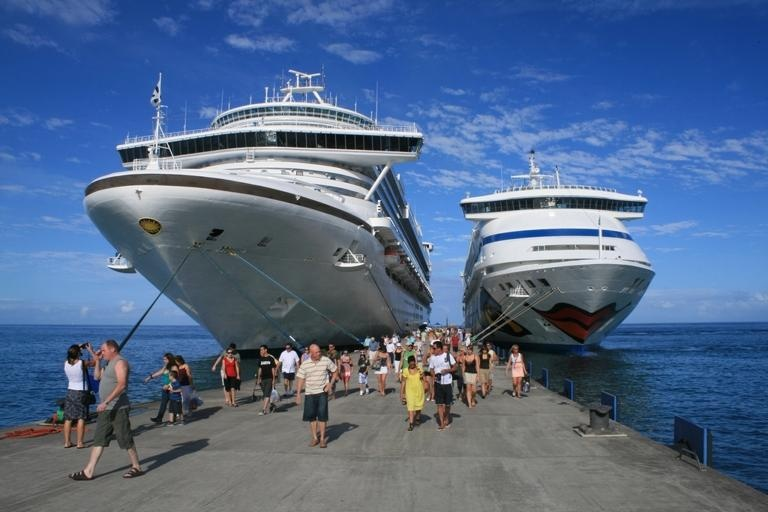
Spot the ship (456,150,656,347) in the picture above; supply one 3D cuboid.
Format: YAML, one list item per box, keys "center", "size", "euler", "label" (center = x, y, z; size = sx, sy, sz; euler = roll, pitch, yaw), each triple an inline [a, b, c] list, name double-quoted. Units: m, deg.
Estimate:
- center: [11.899, 0.777, 40.344]
  size: [8.902, 9.155, 21.425]
  euler: [-1, -5, 5]
  label: "ship"

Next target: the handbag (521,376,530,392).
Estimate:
- center: [4.793, 4.330, 18.610]
  size: [0.179, 0.420, 0.322]
  euler: [4, -5, -11]
  label: "handbag"

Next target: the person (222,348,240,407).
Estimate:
- center: [-4.452, 3.519, 16.282]
  size: [0.488, 1.292, 1.342]
  euler: [0, 0, -15]
  label: "person"

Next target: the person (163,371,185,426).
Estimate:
- center: [-5.279, 3.555, 14.227]
  size: [0.384, 1.147, 0.542]
  euler: [0, 0, -20]
  label: "person"

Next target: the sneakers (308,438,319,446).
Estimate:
- center: [-1.524, 4.140, 12.426]
  size: [0.210, 0.104, 0.271]
  euler: [0, -1, -11]
  label: "sneakers"

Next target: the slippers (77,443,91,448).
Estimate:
- center: [-6.505, 4.147, 12.123]
  size: [0.235, 0.046, 0.124]
  euler: [5, -2, -36]
  label: "slippers"

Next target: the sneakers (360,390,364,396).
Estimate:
- center: [-0.728, 4.493, 18.332]
  size: [0.156, 0.138, 0.144]
  euler: [-1, 1, 1]
  label: "sneakers"

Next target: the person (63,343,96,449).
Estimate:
- center: [-6.716, 3.047, 12.230]
  size: [0.847, 2.088, 0.668]
  euler: [0, -9, -30]
  label: "person"

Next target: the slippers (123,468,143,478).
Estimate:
- center: [-4.814, 4.188, 10.754]
  size: [0.312, 0.107, 0.165]
  euler: [15, -15, -34]
  label: "slippers"

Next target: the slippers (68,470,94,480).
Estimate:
- center: [-5.734, 4.181, 10.570]
  size: [0.342, 0.116, 0.180]
  euler: [9, -8, -12]
  label: "slippers"

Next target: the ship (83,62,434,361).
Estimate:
- center: [-4.581, -0.776, 30.113]
  size: [9.913, 9.194, 23.814]
  euler: [-1, -7, 12]
  label: "ship"

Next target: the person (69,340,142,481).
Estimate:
- center: [-5.341, 2.951, 10.797]
  size: [1.587, 2.494, 0.964]
  euler: [-3, -12, -10]
  label: "person"

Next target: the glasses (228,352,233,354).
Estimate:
- center: [-4.310, 2.757, 15.752]
  size: [0.083, 0.035, 0.104]
  euler: [7, 12, -1]
  label: "glasses"

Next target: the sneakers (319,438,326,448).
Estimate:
- center: [-1.339, 4.111, 12.371]
  size: [0.153, 0.133, 0.474]
  euler: [0, -1, -7]
  label: "sneakers"
